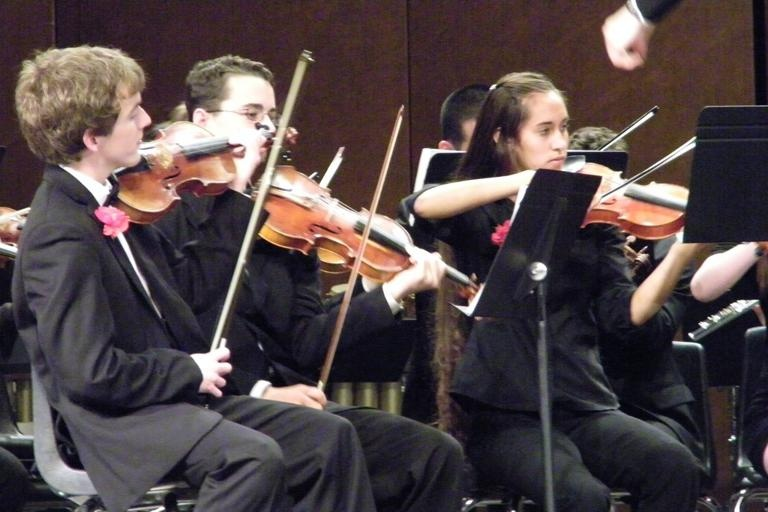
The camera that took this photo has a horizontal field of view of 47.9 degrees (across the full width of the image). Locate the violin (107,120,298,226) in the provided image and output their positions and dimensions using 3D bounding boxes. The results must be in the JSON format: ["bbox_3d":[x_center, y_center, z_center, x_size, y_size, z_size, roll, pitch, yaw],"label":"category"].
[{"bbox_3d":[-0.670,-0.320,2.897,0.098,0.209,0.482,-45,-9,34],"label":"violin"}]

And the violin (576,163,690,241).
[{"bbox_3d":[0.801,-0.168,3.117,0.549,0.199,0.079,5,-18,1],"label":"violin"}]

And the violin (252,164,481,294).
[{"bbox_3d":[-0.135,-0.059,3.046,0.919,0.313,0.153,24,-28,-15],"label":"violin"}]
